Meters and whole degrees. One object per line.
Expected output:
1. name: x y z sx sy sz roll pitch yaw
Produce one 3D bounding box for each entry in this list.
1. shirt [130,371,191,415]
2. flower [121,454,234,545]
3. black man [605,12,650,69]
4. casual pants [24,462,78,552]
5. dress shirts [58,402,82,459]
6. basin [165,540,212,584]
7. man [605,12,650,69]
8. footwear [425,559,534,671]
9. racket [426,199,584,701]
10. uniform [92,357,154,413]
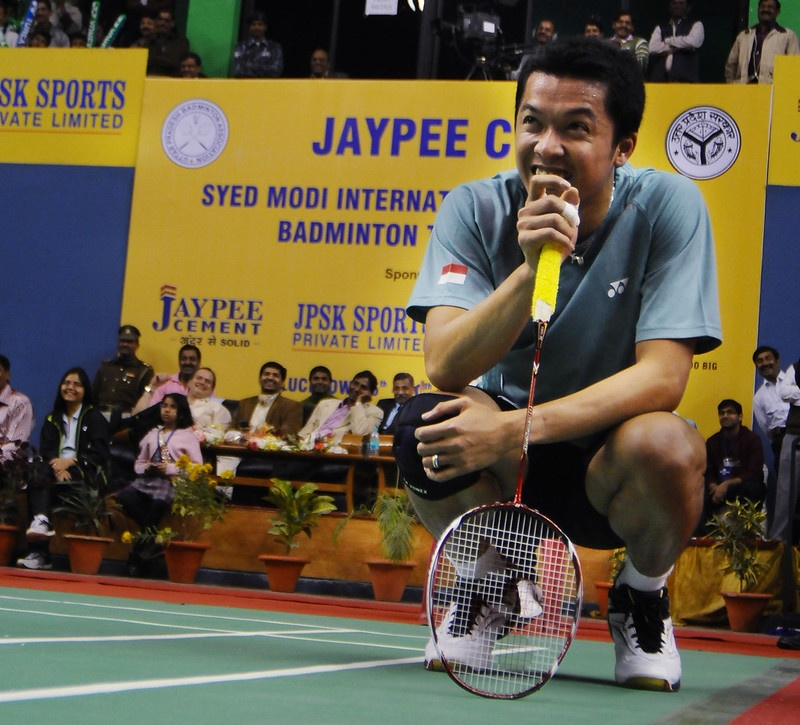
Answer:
1. shirt: -2.410 0.295 10.940 0.479 0.367 0.861 5 6 13
2. flower: -1.700 1.058 8.125 0.746 0.660 0.669 6 -15 -31
3. black man: 2.392 -3.437 11.810 0.503 0.819 0.430 2 -5 10
4. casual pants: -2.653 1.114 8.302 0.344 0.708 0.489 2 6 -17
5. dress shirts: -2.619 0.561 8.700 0.215 0.315 0.149 -1 0 -2
6. basin: -1.549 1.438 7.900 0.273 0.305 0.198 0 6 -31
7. man: 2.384 -3.425 11.810 0.515 0.837 0.430 3 -2 14
8. footwear: 0.163 0.581 2.627 0.122 0.206 0.289 23 6 33
9. racket: 0.251 0.235 2.481 0.334 1.194 0.605 4 5 4
10. uniform: -2.824 0.240 11.131 0.534 0.218 0.606 -2 46 1
